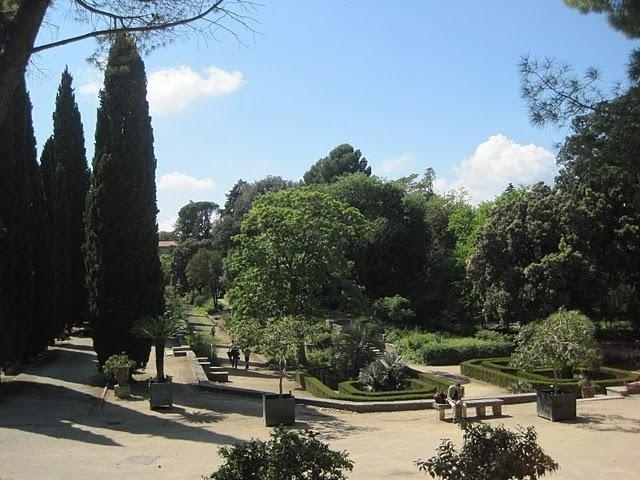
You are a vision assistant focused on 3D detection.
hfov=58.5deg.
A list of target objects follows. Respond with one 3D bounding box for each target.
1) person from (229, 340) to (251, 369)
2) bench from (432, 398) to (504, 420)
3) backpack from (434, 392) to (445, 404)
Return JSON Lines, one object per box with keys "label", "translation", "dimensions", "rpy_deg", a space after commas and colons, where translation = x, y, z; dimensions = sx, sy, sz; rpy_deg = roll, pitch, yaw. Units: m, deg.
{"label": "person", "translation": [-4.541, 6.608, 32.804], "dimensions": [1.310, 1.771, 0.511], "rpy_deg": [4, 16, 10]}
{"label": "bench", "translation": [5.146, 5.726, 19.341], "dimensions": [2.482, 0.651, 1.191], "rpy_deg": [5, -9, -26]}
{"label": "backpack", "translation": [4.200, 5.476, 19.964], "dimensions": [0.282, 0.404, 0.383], "rpy_deg": [-4, 2, 18]}
